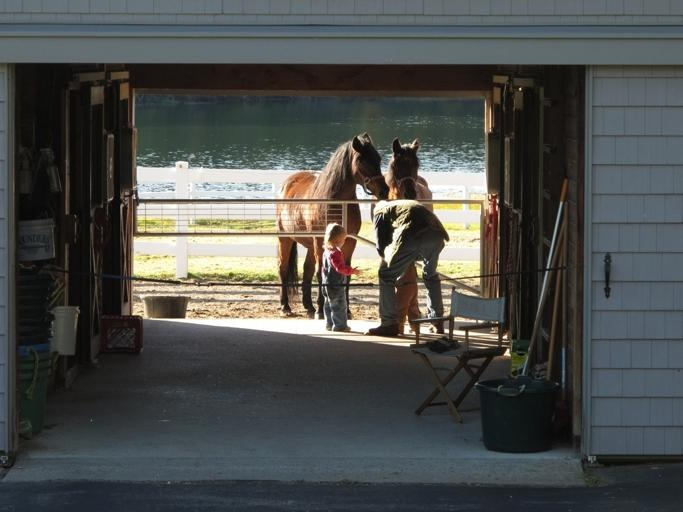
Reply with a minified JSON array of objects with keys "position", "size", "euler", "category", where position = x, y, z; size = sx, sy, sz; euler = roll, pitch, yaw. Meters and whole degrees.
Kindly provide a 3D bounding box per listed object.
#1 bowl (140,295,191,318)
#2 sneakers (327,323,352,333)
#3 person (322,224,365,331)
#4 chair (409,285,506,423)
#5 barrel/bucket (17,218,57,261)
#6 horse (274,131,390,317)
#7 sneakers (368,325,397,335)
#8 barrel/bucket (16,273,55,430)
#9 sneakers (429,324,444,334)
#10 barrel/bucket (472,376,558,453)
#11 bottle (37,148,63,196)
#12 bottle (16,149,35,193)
[{"position":[-2.162,0.606,16.045],"size":[0.314,0.182,0.340],"euler":[2,0,0],"category":"bowl"},{"position":[-0.035,0.792,14.832],"size":[0.193,0.112,0.117],"euler":[-2,1,8],"category":"sneakers"},{"position":[-0.018,0.247,14.559],"size":[0.382,1.260,1.203],"euler":[-1,10,-1],"category":"person"},{"position":[1.058,0.891,11.828],"size":[0.824,1.171,0.880],"euler":[2,3,-8],"category":"chair"},{"position":[-2.737,-0.160,11.743],"size":[0.370,0.414,0.315],"euler":[-1,-3,-39],"category":"barrel/bucket"},{"position":[-0.215,-0.317,16.610],"size":[0.654,2.261,2.716],"euler":[-2,-1,-28],"category":"horse"},{"position":[0.485,0.787,14.567],"size":[0.326,0.158,0.121],"euler":[4,0,8],"category":"sneakers"},{"position":[-2.552,0.740,10.929],"size":[0.298,1.427,0.919],"euler":[-2,9,-11],"category":"barrel/bucket"},{"position":[1.078,0.788,14.423],"size":[0.079,0.143,0.137],"euler":[-4,-1,-25],"category":"sneakers"},{"position":[1.433,1.276,10.533],"size":[0.548,0.450,0.554],"euler":[-3,0,0],"category":"barrel/bucket"},{"position":[-2.714,-0.795,12.155],"size":[0.200,0.437,0.336],"euler":[-5,10,-23],"category":"bottle"},{"position":[-2.870,-0.798,11.912],"size":[0.107,0.422,0.253],"euler":[-1,9,-5],"category":"bottle"}]
